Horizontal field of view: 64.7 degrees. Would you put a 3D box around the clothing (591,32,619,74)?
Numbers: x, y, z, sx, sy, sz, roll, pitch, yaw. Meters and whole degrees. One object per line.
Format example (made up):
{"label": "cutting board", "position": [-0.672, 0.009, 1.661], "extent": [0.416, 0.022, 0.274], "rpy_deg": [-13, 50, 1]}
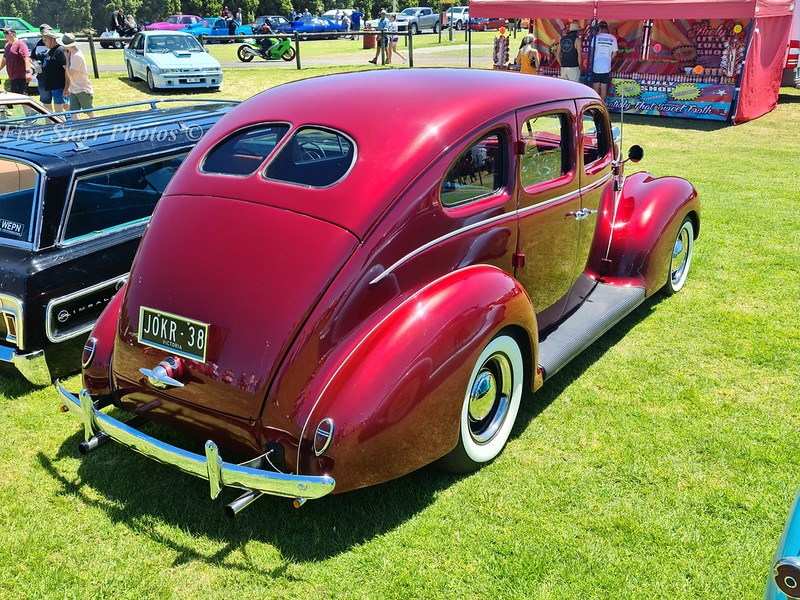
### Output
{"label": "clothing", "position": [4.978, -6.007, 15.562], "extent": [0.745, 1.086, 0.382], "rpy_deg": [6, -1, 16]}

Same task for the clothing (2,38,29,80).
{"label": "clothing", "position": [-6.914, -4.321, 11.386], "extent": [0.627, 0.667, 0.356], "rpy_deg": [9, 23, 21]}

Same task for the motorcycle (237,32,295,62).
{"label": "motorcycle", "position": [-5.442, -10.025, 25.304], "extent": [2.272, 1.348, 1.011], "rpy_deg": [-3, 51, 2]}

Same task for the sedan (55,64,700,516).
{"label": "sedan", "position": [-0.020, -0.283, 4.270], "extent": [4.158, 2.313, 1.868], "rpy_deg": [-20, 29, -38]}
